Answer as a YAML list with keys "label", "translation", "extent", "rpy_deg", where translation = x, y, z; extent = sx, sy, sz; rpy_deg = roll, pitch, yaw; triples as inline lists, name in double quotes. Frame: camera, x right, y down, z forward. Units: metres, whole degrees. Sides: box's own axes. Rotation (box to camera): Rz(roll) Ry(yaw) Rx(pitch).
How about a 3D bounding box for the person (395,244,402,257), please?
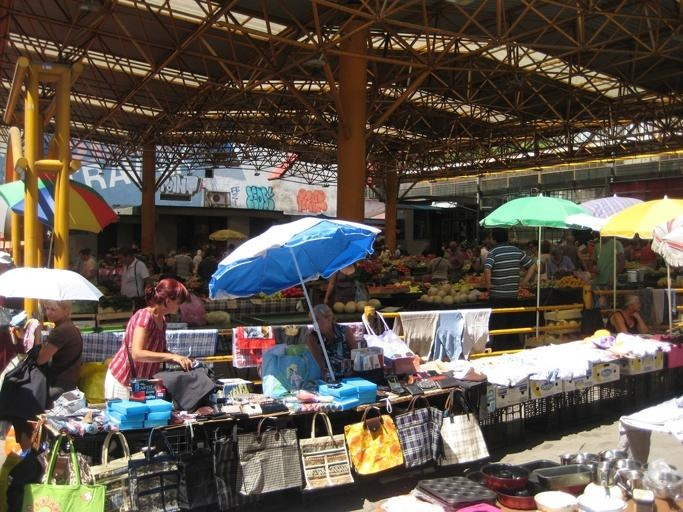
- label: "person"
  translation: [2.200, -0.158, 29.313]
  extent: [0.385, 0.513, 0.812]
  rpy_deg: [-1, 13, 4]

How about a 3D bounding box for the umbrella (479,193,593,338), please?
- label: "umbrella"
  translation: [3.026, 0.030, 12.614]
  extent: [2.054, 2.779, 2.072]
  rpy_deg: [-4, 6, -23]

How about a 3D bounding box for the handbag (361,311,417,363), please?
- label: "handbag"
  translation: [0.587, 1.041, 9.244]
  extent: [0.526, 0.393, 1.086]
  rpy_deg: [-3, 22, -23]

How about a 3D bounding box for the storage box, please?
- label: "storage box"
  translation: [3.025, 1.380, 9.844]
  extent: [2.839, 0.387, 0.984]
  rpy_deg: [-9, 12, -31]

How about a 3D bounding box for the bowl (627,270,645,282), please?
- label: "bowl"
  translation: [6.621, 0.476, 16.764]
  extent: [0.434, 0.283, 0.262]
  rpy_deg: [1, -3, -34]

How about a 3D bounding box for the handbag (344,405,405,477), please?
- label: "handbag"
  translation: [0.333, 2.031, 8.119]
  extent: [0.778, 0.814, 0.265]
  rpy_deg: [-7, -7, -25]

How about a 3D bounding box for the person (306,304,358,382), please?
- label: "person"
  translation: [-0.135, 1.101, 8.987]
  extent: [0.544, 0.873, 0.527]
  rpy_deg: [-18, -19, -1]

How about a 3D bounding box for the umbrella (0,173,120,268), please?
- label: "umbrella"
  translation: [-4.449, -0.762, 11.603]
  extent: [0.946, 0.999, 2.458]
  rpy_deg: [0, 8, -2]
